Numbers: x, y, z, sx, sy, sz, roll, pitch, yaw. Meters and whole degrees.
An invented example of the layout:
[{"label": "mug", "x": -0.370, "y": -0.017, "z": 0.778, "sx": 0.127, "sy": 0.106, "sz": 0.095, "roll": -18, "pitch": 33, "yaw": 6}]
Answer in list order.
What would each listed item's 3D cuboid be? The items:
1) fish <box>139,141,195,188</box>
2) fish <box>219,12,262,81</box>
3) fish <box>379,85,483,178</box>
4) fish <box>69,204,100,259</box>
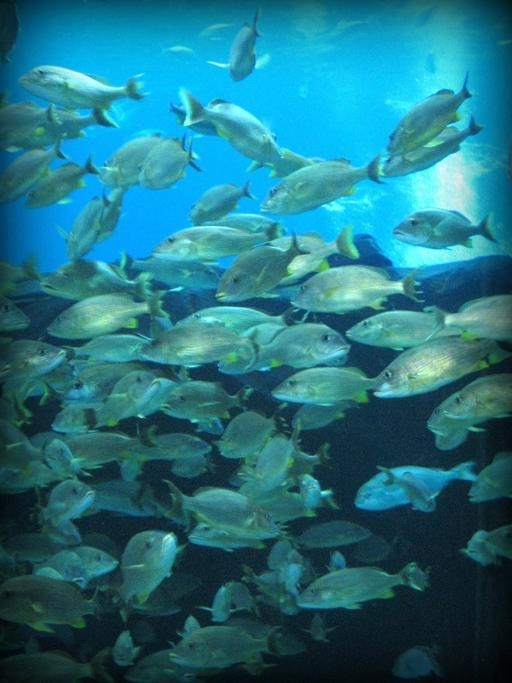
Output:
[{"label": "fish", "x": -0.568, "y": -1.158, "z": 4.576, "sx": 0.367, "sy": 0.304, "sz": 0.250, "roll": 0, "pitch": -6, "yaw": -8}, {"label": "fish", "x": -0.088, "y": -1.976, "z": 4.692, "sx": 0.212, "sy": 0.391, "sz": 0.342, "roll": -1, "pitch": -6, "yaw": -2}, {"label": "fish", "x": 1.123, "y": -1.382, "z": 4.588, "sx": 0.642, "sy": 0.545, "sz": 0.413, "roll": -3, "pitch": -6, "yaw": 15}, {"label": "fish", "x": -1.128, "y": -0.733, "z": 4.592, "sx": 0.316, "sy": 0.347, "sz": 0.147, "roll": -6, "pitch": -8, "yaw": 42}]
